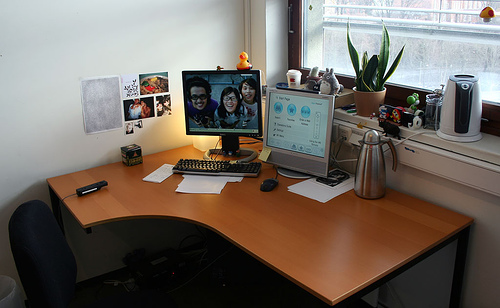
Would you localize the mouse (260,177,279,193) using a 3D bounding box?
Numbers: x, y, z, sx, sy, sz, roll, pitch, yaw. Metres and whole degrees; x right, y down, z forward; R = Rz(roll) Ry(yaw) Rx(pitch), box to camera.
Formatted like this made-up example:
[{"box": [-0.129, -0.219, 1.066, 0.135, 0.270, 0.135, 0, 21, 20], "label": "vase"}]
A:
[{"box": [0.131, 0.216, 2.286, 0.099, 0.058, 0.117, 7, 22, 25], "label": "mouse"}]

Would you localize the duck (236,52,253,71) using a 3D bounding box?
[{"box": [-0.035, -0.761, 2.757, 0.160, 0.169, 0.179, 0, 12, 1], "label": "duck"}]

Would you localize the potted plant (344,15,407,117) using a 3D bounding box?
[{"box": [0.882, -0.631, 2.405, 0.367, 0.643, 0.530, 3, 20, 16], "label": "potted plant"}]

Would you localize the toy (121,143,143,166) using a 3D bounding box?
[{"box": [-0.956, 0.013, 2.664, 0.147, 0.128, 0.142, -14, 21, -39], "label": "toy"}]

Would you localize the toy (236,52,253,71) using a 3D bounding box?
[{"box": [-0.040, -0.741, 2.699, 0.161, 0.171, 0.179, 0, 13, 1], "label": "toy"}]

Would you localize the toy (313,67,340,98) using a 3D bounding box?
[{"box": [0.635, -0.549, 2.525, 0.160, 0.215, 0.227, 21, 31, 39], "label": "toy"}]

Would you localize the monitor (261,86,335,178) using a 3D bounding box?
[{"box": [0.360, -0.152, 2.388, 0.567, 0.637, 0.249, 10, 13, 32], "label": "monitor"}]

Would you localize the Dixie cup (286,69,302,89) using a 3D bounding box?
[{"box": [0.393, -0.666, 2.914, 0.165, 0.156, 0.167, 0, 16, 0], "label": "Dixie cup"}]

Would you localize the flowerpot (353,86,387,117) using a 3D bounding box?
[{"box": [0.887, -0.372, 2.400, 0.280, 0.214, 0.272, 4, 2, 37], "label": "flowerpot"}]

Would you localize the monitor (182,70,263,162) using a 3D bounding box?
[{"box": [-0.211, -0.309, 2.602, 0.703, 0.783, 0.295, 1, 15, 6], "label": "monitor"}]

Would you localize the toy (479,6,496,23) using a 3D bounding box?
[{"box": [1.415, -0.829, 1.998, 0.094, 0.095, 0.097, 6, 12, 20], "label": "toy"}]

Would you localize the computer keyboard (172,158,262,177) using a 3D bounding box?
[{"box": [-0.248, 0.098, 2.476, 0.425, 0.056, 0.139, 1, 32, 12], "label": "computer keyboard"}]
